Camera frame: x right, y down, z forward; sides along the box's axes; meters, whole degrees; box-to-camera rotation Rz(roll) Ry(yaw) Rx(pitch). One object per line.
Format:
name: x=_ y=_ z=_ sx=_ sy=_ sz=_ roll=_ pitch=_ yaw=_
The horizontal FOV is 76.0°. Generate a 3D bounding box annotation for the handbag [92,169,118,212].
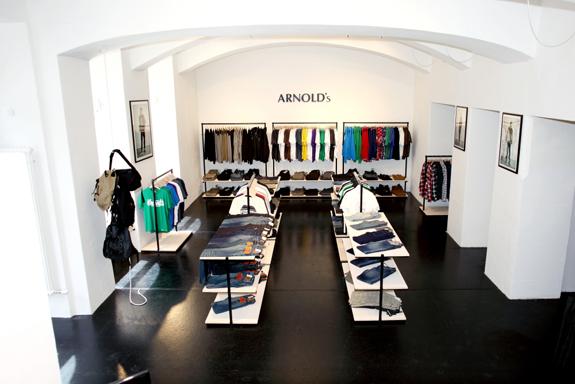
handbag: x=-2.880 y=-0.008 z=5.833 sx=0.378 sy=0.645 sz=0.349 roll=-8 pitch=11 yaw=-22

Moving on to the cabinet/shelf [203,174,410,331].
cabinet/shelf: x=0.513 y=1.216 z=5.764 sx=2.204 sy=0.765 sz=3.225 roll=-2 pitch=20 yaw=2

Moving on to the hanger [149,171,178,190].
hanger: x=-2.682 y=-0.231 z=7.946 sx=0.131 sy=0.242 sz=0.410 roll=3 pitch=29 yaw=25

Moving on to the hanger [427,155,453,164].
hanger: x=3.841 y=-0.871 z=9.383 sx=0.578 sy=0.173 sz=0.874 roll=0 pitch=11 yaw=20

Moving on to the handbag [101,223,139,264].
handbag: x=-2.762 y=0.829 z=5.986 sx=0.472 sy=0.688 sz=0.263 roll=-6 pitch=10 yaw=-14

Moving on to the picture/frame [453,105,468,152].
picture/frame: x=3.651 y=-1.340 z=7.779 sx=0.156 sy=0.935 sz=0.703 roll=-1 pitch=10 yaw=16
